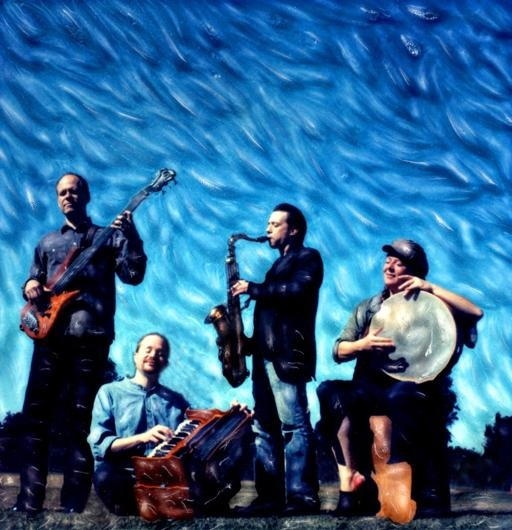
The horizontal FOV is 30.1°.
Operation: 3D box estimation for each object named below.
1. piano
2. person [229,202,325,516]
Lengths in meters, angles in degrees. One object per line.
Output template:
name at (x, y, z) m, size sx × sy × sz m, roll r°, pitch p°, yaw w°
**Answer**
piano at (-0.678, 2.162, 10.717) m, size 1.339 × 0.978 × 1.239 m, roll 2°, pitch -5°, yaw -5°
person at (0.198, 1.064, 10.618) m, size 0.907 × 2.871 × 1.114 m, roll -3°, pitch -2°, yaw 35°
